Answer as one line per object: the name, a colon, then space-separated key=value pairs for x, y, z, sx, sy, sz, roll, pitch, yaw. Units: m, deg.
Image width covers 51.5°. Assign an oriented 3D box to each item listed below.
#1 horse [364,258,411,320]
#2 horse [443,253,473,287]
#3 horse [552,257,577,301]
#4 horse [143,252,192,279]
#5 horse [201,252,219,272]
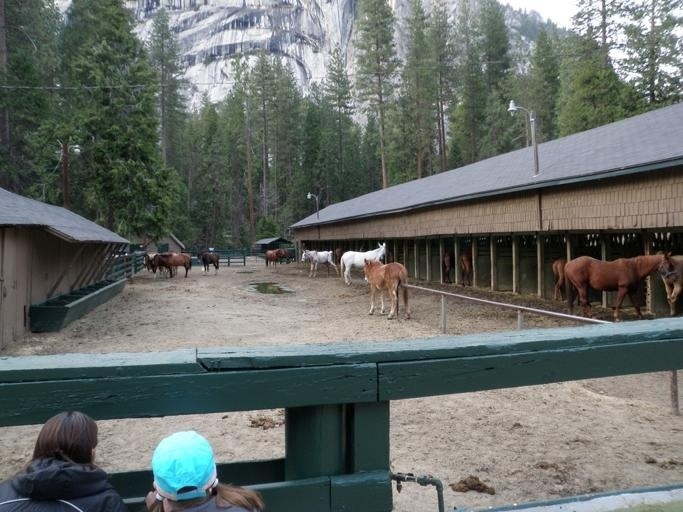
horse: x=1.213 y=0.956 z=20.914 sx=0.555 sy=1.736 sz=2.449 roll=-1 pitch=1 yaw=-26
horse: x=4.402 y=0.491 z=26.498 sx=0.940 sy=1.239 sz=2.080 roll=-3 pitch=4 yaw=-15
horse: x=6.392 y=0.603 z=20.763 sx=0.355 sy=1.334 sz=1.566 roll=-10 pitch=-5 yaw=26
horse: x=-8.636 y=0.472 z=36.028 sx=1.687 sy=1.229 sz=1.623 roll=1 pitch=5 yaw=29
horse: x=-7.344 y=0.364 z=39.188 sx=0.881 sy=1.102 sz=2.720 roll=-2 pitch=4 yaw=-12
